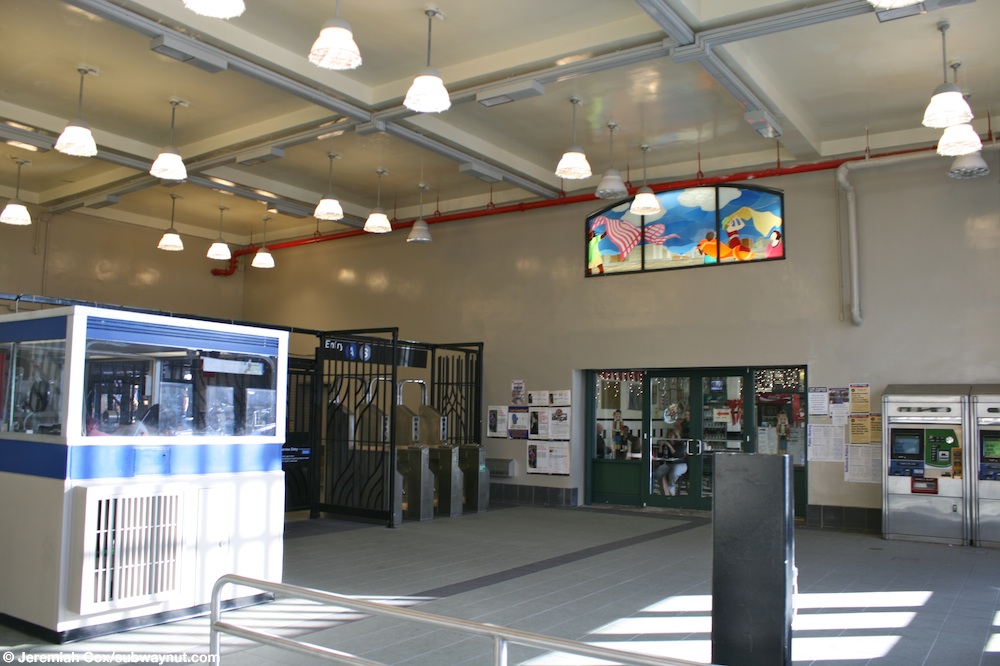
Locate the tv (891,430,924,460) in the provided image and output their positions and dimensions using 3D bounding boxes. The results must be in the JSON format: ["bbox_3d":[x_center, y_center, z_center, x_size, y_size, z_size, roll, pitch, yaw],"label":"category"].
[{"bbox_3d":[5.834,1.583,10.798,0.425,0.394,0.224,-2,-8,31],"label":"tv"}]
